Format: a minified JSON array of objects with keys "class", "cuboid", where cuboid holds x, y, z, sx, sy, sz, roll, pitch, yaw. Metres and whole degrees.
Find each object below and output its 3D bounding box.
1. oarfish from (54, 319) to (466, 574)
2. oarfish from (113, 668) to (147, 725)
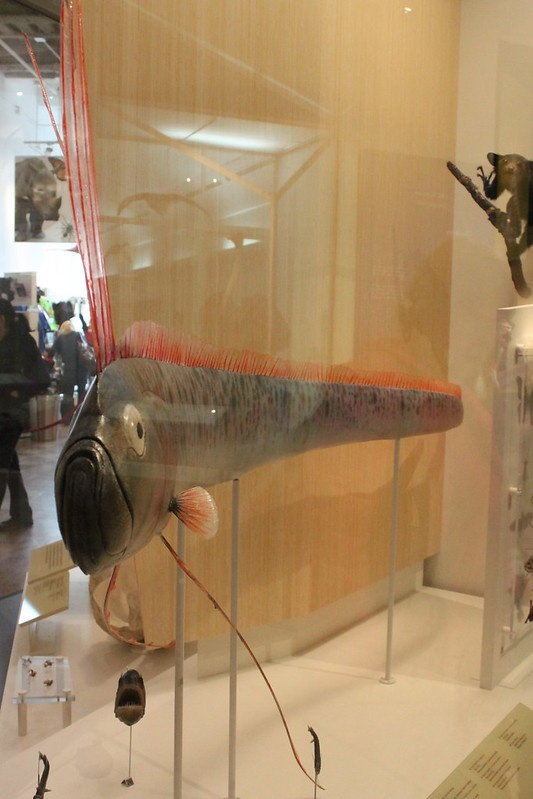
[{"class":"oarfish","cuboid":[0.043,0.033,1.093,0.855,0.279,0.118,-6,4,-44]},{"class":"oarfish","cuboid":[-0.213,0.485,1.117,0.036,0.045,0.115,3,-18,-2]}]
